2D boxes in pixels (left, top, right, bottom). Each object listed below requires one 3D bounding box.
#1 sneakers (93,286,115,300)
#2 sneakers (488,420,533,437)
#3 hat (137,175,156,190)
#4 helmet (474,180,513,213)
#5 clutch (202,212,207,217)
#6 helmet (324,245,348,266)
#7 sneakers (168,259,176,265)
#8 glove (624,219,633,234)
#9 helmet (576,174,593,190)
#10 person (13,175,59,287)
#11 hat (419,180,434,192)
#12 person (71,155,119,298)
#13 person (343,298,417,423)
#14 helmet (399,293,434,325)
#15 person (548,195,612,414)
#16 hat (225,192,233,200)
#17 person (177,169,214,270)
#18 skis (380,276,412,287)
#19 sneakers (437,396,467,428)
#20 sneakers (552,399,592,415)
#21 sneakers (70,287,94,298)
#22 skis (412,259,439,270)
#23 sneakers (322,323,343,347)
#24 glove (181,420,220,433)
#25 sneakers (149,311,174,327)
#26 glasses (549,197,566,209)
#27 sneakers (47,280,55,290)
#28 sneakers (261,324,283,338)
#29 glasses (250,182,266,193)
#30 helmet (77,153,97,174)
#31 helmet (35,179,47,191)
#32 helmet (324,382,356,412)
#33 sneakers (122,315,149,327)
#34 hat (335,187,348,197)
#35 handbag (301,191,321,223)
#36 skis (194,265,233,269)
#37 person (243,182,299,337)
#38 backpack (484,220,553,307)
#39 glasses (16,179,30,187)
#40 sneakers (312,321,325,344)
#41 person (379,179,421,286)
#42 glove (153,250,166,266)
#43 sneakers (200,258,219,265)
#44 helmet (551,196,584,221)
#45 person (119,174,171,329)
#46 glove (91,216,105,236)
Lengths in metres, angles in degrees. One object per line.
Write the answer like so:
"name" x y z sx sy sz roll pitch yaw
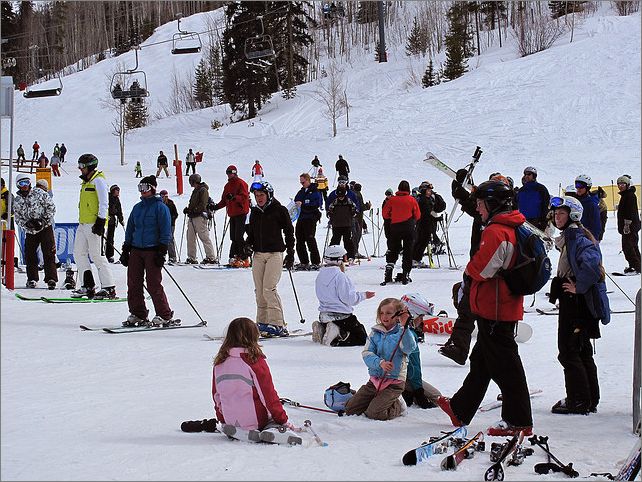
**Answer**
"sneakers" -3.307 0.811 11.771 0.435 0.202 0.146 3 0 0
"sneakers" 1.642 1.659 6.641 0.392 0.168 0.144 0 -5 15
"hat" -2.349 -0.838 10.377 0.219 0.214 0.211 12 -12 -18
"helmet" 1.550 -0.378 6.895 0.310 0.300 0.249 18 0 14
"clutch" -2.357 -0.530 15.494 0.058 0.117 0.261 -2 1 14
"helmet" 0.166 0.188 9.892 0.210 0.263 0.278 5 10 28
"sneakers" -3.129 0.438 16.094 0.088 0.111 0.261 0 -9 -13
"glove" 5.493 -0.249 13.733 0.061 0.251 0.150 -4 2 -42
"helmet" 4.117 -0.931 12.025 0.223 0.206 0.483 -2 1 18
"person" -4.742 -0.158 12.652 0.645 1.878 0.585 -5 -6 -10
"hat" 2.146 -1.095 15.663 0.232 0.189 0.364 -1 -16 4
"person" -3.407 -0.190 11.378 0.613 1.561 1.109 -3 2 -18
"person" 0.563 1.136 7.267 0.662 1.114 0.288 -2 2 6
"helmet" 1.166 0.866 9.232 0.489 0.365 0.377 11 9 3
"person" 2.525 0.610 7.497 0.552 2.093 0.722 -2 2 17
"hat" -1.746 -0.854 14.579 0.148 0.122 0.100 -2 2 2
"person" -2.507 -0.465 15.735 0.626 1.901 1.107 -3 2 -10
"skis" 1.339 0.714 13.472 0.620 0.248 0.191 2 -9 -4
"sneakers" 1.144 1.539 6.893 0.140 0.350 0.118 -43 -16 32
"sneakers" 2.377 1.582 7.245 0.326 0.138 0.151 4 -3 12
"sneakers" -3.676 0.798 11.863 0.440 0.204 0.149 4 0 6
"skis" 2.171 0.481 15.902 0.523 0.225 0.177 0 4 -7
"sneakers" 0.126 1.195 9.712 0.174 0.300 0.110 33 -2 16
"glove" -1.085 1.669 6.810 0.259 0.064 0.138 3 30 -1
"sneakers" -2.159 1.100 10.394 0.386 0.263 0.130 2 -1 -14
"glasses" 2.413 -0.388 7.787 0.113 0.059 0.112 34 -29 -20
"sneakers" -4.509 0.742 12.808 0.125 0.140 0.141 -4 6 -32
"sneakers" -0.663 1.199 10.123 0.330 0.149 0.131 13 -15 -41
"glasses" -0.851 -0.747 10.393 0.178 0.138 0.129 10 -9 -41
"helmet" -3.400 -1.150 11.105 0.323 0.303 0.253 3 15 -24
"helmet" -4.743 -0.964 12.987 0.186 0.197 0.253 3 1 -21
"helmet" 0.175 1.522 7.383 0.207 0.251 0.283 1 0 9
"sneakers" -2.476 1.099 10.274 0.361 0.153 0.144 -4 7 -31
"hat" 0.401 -0.982 15.167 0.214 0.242 0.279 -2 2 1
"handbag" -0.205 -0.698 15.070 0.482 0.652 0.597 3 8 -3
"skis" -2.168 0.529 15.297 0.499 0.068 0.255 -1 2 1
"person" -0.667 0.227 10.371 0.637 2.102 0.699 -3 2 -9
"backpack" 1.781 0.148 6.780 0.422 0.712 0.505 -1 5 15
"glasses" -4.990 -0.979 12.796 0.157 0.101 0.191 -13 -7 -32
"sneakers" -0.038 1.183 9.765 0.109 0.322 0.227 -14 -18 31
"person" 1.414 -0.165 13.823 0.719 1.844 1.159 -2 2 5
"glove" -2.114 0.233 10.102 0.170 0.174 0.179 0 -6 8
"sneakers" -2.295 0.423 15.750 0.356 0.149 0.132 3 9 9
"helmet" 2.500 -0.338 7.762 0.289 0.233 0.233 4 -5 5
"person" -2.348 0.139 10.345 0.718 1.379 0.791 -3 2 -13
"glove" -3.198 -0.203 10.995 0.192 0.200 0.248 -3 2 -20
